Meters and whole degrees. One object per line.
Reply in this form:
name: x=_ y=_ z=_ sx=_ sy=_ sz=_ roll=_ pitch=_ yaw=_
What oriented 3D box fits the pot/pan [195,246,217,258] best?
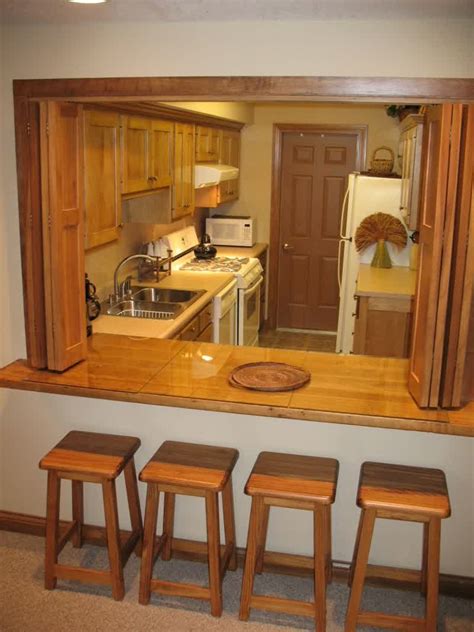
pot/pan: x=-0.288 y=-0.584 z=4.866 sx=0.129 sy=0.078 sz=0.142 roll=1 pitch=8 yaw=0

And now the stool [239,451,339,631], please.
stool: x=0.191 y=0.836 z=1.969 sx=0.323 sy=0.629 sz=0.417 roll=4 pitch=14 yaw=11

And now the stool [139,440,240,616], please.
stool: x=-0.174 y=0.782 z=1.995 sx=0.401 sy=0.498 sz=0.377 roll=2 pitch=7 yaw=2

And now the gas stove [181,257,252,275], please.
gas stove: x=-0.178 y=-0.451 z=4.657 sx=0.566 sy=0.051 sz=0.784 roll=2 pitch=14 yaw=4

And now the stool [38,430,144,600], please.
stool: x=-0.572 y=0.791 z=2.125 sx=0.394 sy=0.584 sz=0.410 roll=9 pitch=28 yaw=8

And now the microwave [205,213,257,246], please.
microwave: x=-0.062 y=-0.856 z=5.452 sx=0.453 sy=0.302 sz=0.326 roll=4 pitch=15 yaw=13

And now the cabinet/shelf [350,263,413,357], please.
cabinet/shelf: x=1.005 y=-0.030 z=3.684 sx=0.313 sy=0.514 sz=0.549 roll=5 pitch=30 yaw=12
